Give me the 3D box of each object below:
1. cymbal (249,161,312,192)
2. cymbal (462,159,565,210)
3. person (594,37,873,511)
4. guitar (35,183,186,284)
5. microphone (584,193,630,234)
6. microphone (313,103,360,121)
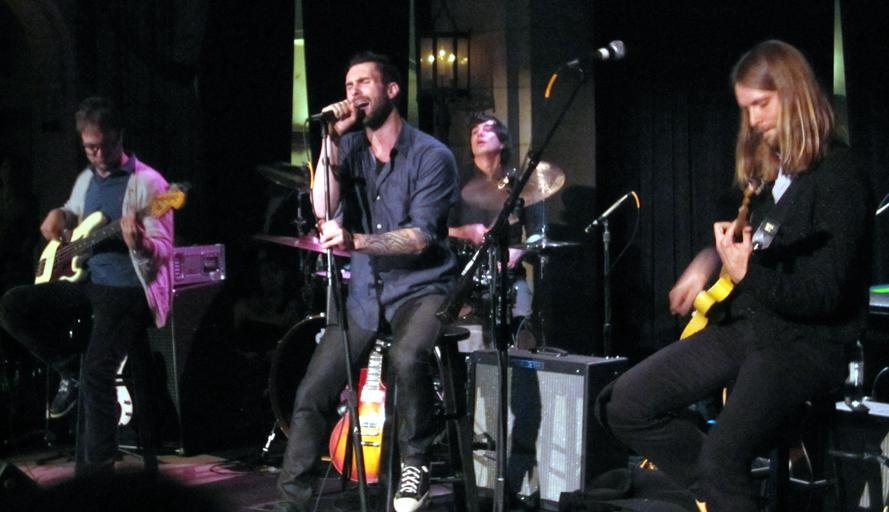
[{"bbox_3d":[-1.201,-0.602,7.018,0.524,0.303,0.177,9,7,23],"label":"cymbal"},{"bbox_3d":[0.600,-0.725,7.901,0.601,0.148,0.596,-16,0,36],"label":"cymbal"},{"bbox_3d":[1.793,0.109,5.411,1.325,2.690,0.416,-2,-5,23],"label":"person"},{"bbox_3d":[-2.469,-0.175,6.653,0.725,0.277,0.104,-30,-25,1],"label":"guitar"},{"bbox_3d":[1.412,-0.358,8.024,0.657,0.099,0.132,-34,0,43],"label":"microphone"},{"bbox_3d":[-0.674,-0.890,5.685,0.300,0.143,0.127,1,-5,-9],"label":"microphone"}]
